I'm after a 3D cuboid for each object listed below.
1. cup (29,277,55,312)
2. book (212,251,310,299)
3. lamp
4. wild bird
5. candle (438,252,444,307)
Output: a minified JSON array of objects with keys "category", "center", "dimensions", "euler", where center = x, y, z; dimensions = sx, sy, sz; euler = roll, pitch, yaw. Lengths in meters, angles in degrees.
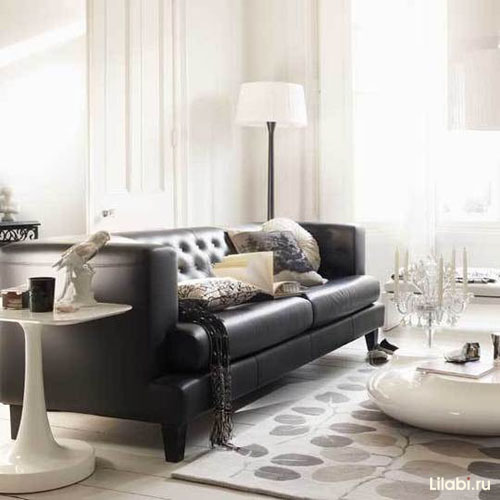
[{"category":"cup","center":[-0.634,0.133,1.622],"dimensions":[0.086,0.096,0.104],"euler":[0,-3,-9]},{"category":"book","center":[0.004,0.090,2.627],"dimensions":[0.326,0.119,0.259],"euler":[10,10,40]},{"category":"lamp","center":[0.200,-0.924,4.449],"dimensions":[0.567,1.083,0.841],"euler":[-2,0,5]},{"category":"wild bird","center":[-0.576,0.052,1.786],"dimensions":[0.173,0.250,0.283],"euler":[-2,0,-18]},{"category":"candle","center":[0.824,0.137,2.240],"dimensions":[0.022,0.184,0.166],"euler":[-2,0,19]}]
